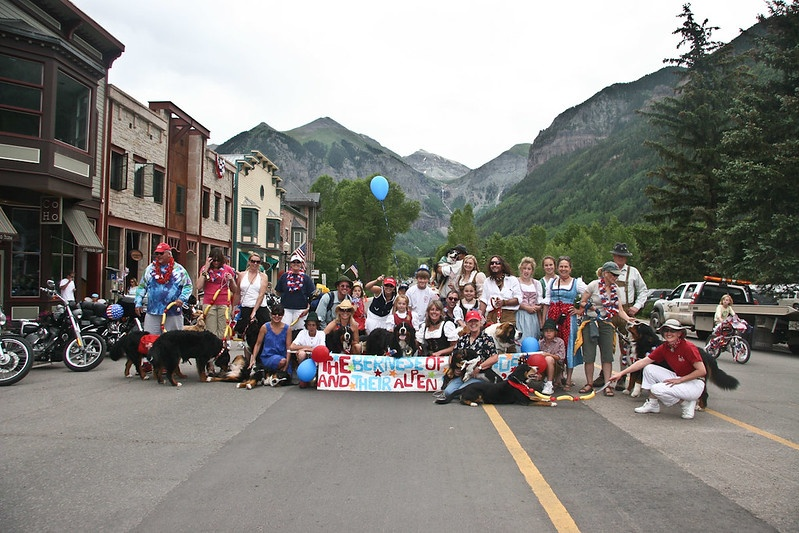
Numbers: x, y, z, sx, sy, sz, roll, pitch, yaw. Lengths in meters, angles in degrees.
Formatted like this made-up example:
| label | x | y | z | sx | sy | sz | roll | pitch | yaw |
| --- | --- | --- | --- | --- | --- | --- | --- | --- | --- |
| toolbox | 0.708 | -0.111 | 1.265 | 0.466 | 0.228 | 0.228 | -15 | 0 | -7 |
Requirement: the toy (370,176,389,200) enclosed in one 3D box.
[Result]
| label | x | y | z | sx | sy | sz | roll | pitch | yaw |
| --- | --- | --- | --- | --- | --- | --- | --- | --- | --- |
| toy | -0.655 | -2.640 | 19.851 | 0.452 | 0.794 | 0.908 | 2 | 9 | 6 |

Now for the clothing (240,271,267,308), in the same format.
| label | x | y | z | sx | sy | sz | roll | pitch | yaw |
| --- | --- | --- | --- | --- | --- | --- | --- | --- | --- |
| clothing | -3.299 | 0.526 | 13.277 | 0.632 | 0.880 | 0.463 | 1 | -14 | -7 |

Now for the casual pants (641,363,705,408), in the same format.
| label | x | y | z | sx | sy | sz | roll | pitch | yaw |
| --- | --- | --- | --- | --- | --- | --- | --- | --- | --- |
| casual pants | 4.886 | 2.105 | 10.459 | 0.973 | 0.510 | 1.001 | -7 | 11 | 12 |

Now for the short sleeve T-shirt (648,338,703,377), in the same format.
| label | x | y | z | sx | sy | sz | roll | pitch | yaw |
| --- | --- | --- | --- | --- | --- | --- | --- | --- | --- |
| short sleeve T-shirt | 4.953 | 1.619 | 10.550 | 0.435 | 0.687 | 0.873 | -13 | 6 | -44 |

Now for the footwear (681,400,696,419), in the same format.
| label | x | y | z | sx | sy | sz | roll | pitch | yaw |
| --- | --- | --- | --- | --- | --- | --- | --- | --- | --- |
| footwear | 5.020 | 2.468 | 10.182 | 0.253 | 0.298 | 0.252 | 2 | 8 | 7 |

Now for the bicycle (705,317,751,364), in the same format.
| label | x | y | z | sx | sy | sz | roll | pitch | yaw |
| --- | --- | --- | --- | --- | --- | --- | --- | --- | --- |
| bicycle | 9.833 | 2.170 | 17.881 | 0.644 | 1.397 | 1.977 | 4 | -3 | -15 |

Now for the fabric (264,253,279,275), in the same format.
| label | x | y | z | sx | sy | sz | roll | pitch | yaw |
| --- | --- | --- | --- | --- | --- | --- | --- | --- | --- |
| fabric | -11.168 | -0.247 | 51.496 | 0.617 | 1.930 | 1.946 | -1 | -2 | 12 |

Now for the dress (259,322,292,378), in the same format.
| label | x | y | z | sx | sy | sz | roll | pitch | yaw |
| --- | --- | --- | --- | --- | --- | --- | --- | --- | --- |
| dress | -2.588 | 1.739 | 12.189 | 0.708 | 1.442 | 0.868 | 2 | -1 | -13 |

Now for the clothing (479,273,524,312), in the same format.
| label | x | y | z | sx | sy | sz | roll | pitch | yaw |
| --- | --- | --- | --- | --- | --- | --- | --- | --- | --- |
| clothing | 2.196 | 0.571 | 12.412 | 1.108 | 1.006 | 0.633 | -2 | -10 | 23 |

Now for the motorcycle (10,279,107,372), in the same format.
| label | x | y | z | sx | sy | sz | roll | pitch | yaw |
| --- | --- | --- | --- | --- | --- | --- | --- | --- | --- |
| motorcycle | -8.061 | 1.393 | 13.590 | 2.623 | 1.898 | 1.269 | 2 | -10 | 15 |

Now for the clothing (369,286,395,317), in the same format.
| label | x | y | z | sx | sy | sz | roll | pitch | yaw |
| --- | --- | --- | --- | --- | --- | --- | --- | --- | --- |
| clothing | -0.351 | 0.772 | 12.711 | 0.389 | 0.533 | 0.294 | 26 | 4 | -21 |

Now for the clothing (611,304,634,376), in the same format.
| label | x | y | z | sx | sy | sz | roll | pitch | yaw |
| --- | --- | --- | --- | --- | --- | --- | --- | --- | --- |
| clothing | 4.606 | 1.555 | 12.306 | 0.435 | 1.447 | 0.605 | 2 | 21 | 33 |

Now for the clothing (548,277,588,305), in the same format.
| label | x | y | z | sx | sy | sz | roll | pitch | yaw |
| --- | --- | --- | --- | --- | --- | --- | --- | --- | --- |
| clothing | 3.402 | 0.496 | 11.993 | 0.430 | 0.459 | 0.236 | 6 | -8 | 30 |

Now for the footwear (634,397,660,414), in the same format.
| label | x | y | z | sx | sy | sz | roll | pitch | yaw |
| --- | --- | --- | --- | --- | --- | --- | --- | --- | --- |
| footwear | 4.400 | 2.442 | 10.351 | 0.509 | 0.357 | 0.210 | 1 | -1 | 9 |

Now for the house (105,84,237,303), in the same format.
| label | x | y | z | sx | sy | sz | roll | pitch | yaw |
| --- | --- | --- | --- | --- | --- | --- | --- | --- | --- |
| house | -13.027 | -3.738 | 33.484 | 3.881 | 10.125 | 18.398 | 1 | -2 | 1 |

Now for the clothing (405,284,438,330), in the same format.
| label | x | y | z | sx | sy | sz | roll | pitch | yaw |
| --- | --- | --- | --- | --- | --- | --- | --- | --- | --- |
| clothing | 0.528 | 0.948 | 13.166 | 0.796 | 1.116 | 0.390 | 2 | 13 | 17 |

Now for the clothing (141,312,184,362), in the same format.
| label | x | y | z | sx | sy | sz | roll | pitch | yaw |
| --- | --- | --- | --- | --- | --- | --- | --- | --- | --- |
| clothing | -5.157 | 1.545 | 12.853 | 0.816 | 0.877 | 0.468 | 0 | -8 | -15 |

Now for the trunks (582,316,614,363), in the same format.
| label | x | y | z | sx | sy | sz | roll | pitch | yaw |
| --- | --- | --- | --- | --- | --- | --- | --- | --- | --- |
| trunks | 3.940 | 1.431 | 11.694 | 0.728 | 1.104 | 0.420 | 2 | -14 | 2 |

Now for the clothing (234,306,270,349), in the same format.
| label | x | y | z | sx | sy | sz | roll | pitch | yaw |
| --- | --- | --- | --- | --- | --- | --- | --- | --- | --- |
| clothing | -3.263 | 1.271 | 12.931 | 0.418 | 0.715 | 1.294 | 18 | 12 | -25 |

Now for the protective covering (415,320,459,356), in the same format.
| label | x | y | z | sx | sy | sz | roll | pitch | yaw |
| --- | --- | --- | --- | --- | --- | --- | --- | --- | --- |
| protective covering | 0.809 | 1.391 | 12.109 | 0.866 | 0.777 | 0.486 | -1 | 3 | 33 |

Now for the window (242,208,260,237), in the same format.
| label | x | y | z | sx | sy | sz | roll | pitch | yaw |
| --- | --- | --- | --- | --- | --- | --- | --- | --- | --- |
| window | -11.553 | -3.451 | 45.512 | 0.900 | 2.233 | 2.290 | 0 | -1 | 2 |

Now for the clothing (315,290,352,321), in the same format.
| label | x | y | z | sx | sy | sz | roll | pitch | yaw |
| --- | --- | --- | --- | --- | --- | --- | --- | --- | --- |
| clothing | -1.573 | 0.851 | 13.223 | 0.704 | 0.808 | 0.728 | 1 | 16 | 5 |

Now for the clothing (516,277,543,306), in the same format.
| label | x | y | z | sx | sy | sz | roll | pitch | yaw |
| --- | --- | --- | --- | --- | --- | --- | --- | --- | --- |
| clothing | 2.703 | 0.572 | 12.312 | 0.698 | 0.762 | 0.390 | 0 | -7 | -6 |

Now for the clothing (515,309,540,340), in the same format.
| label | x | y | z | sx | sy | sz | roll | pitch | yaw |
| --- | --- | --- | --- | --- | --- | --- | --- | --- | --- |
| clothing | 2.636 | 1.205 | 12.350 | 0.610 | 0.770 | 0.489 | -1 | -3 | -4 |

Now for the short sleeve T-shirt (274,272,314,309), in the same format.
| label | x | y | z | sx | sy | sz | roll | pitch | yaw |
| --- | --- | --- | --- | --- | --- | --- | --- | --- | --- |
| short sleeve T-shirt | -2.311 | 0.557 | 13.389 | 0.988 | 1.076 | 0.732 | 1 | -8 | -8 |

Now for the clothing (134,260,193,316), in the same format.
| label | x | y | z | sx | sy | sz | roll | pitch | yaw |
| --- | --- | --- | --- | --- | --- | --- | --- | --- | --- |
| clothing | -5.175 | 0.470 | 12.946 | 1.143 | 1.239 | 0.606 | 3 | -3 | -13 |

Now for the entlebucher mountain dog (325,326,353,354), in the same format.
| label | x | y | z | sx | sy | sz | roll | pitch | yaw |
| --- | --- | --- | --- | --- | --- | --- | --- | --- | --- |
| entlebucher mountain dog | -1.256 | 1.544 | 12.412 | 0.364 | 0.405 | 0.683 | 4 | -8 | -20 |
